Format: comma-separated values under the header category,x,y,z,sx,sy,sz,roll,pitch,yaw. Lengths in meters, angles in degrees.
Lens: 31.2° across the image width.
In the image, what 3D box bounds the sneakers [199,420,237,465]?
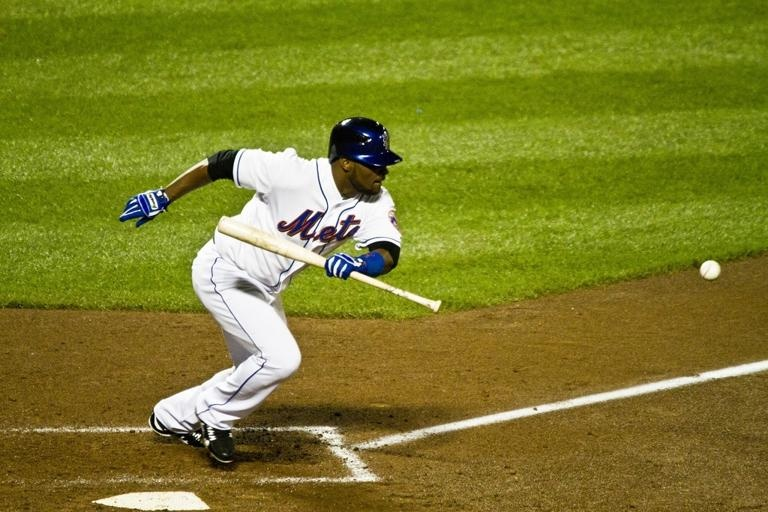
category,x,y,z,sx,sy,sz,roll,pitch,yaw
sneakers,-1.820,2.000,14.924,0.237,0.246,0.599,-6,38,-44

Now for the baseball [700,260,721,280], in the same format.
category,x,y,z,sx,sy,sz,roll,pitch,yaw
baseball,4.190,0.184,17.646,0.269,0.192,0.230,18,10,18

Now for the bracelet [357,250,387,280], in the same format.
category,x,y,z,sx,sy,sz,roll,pitch,yaw
bracelet,-0.110,0.096,14.507,0.217,0.222,0.278,62,0,9
